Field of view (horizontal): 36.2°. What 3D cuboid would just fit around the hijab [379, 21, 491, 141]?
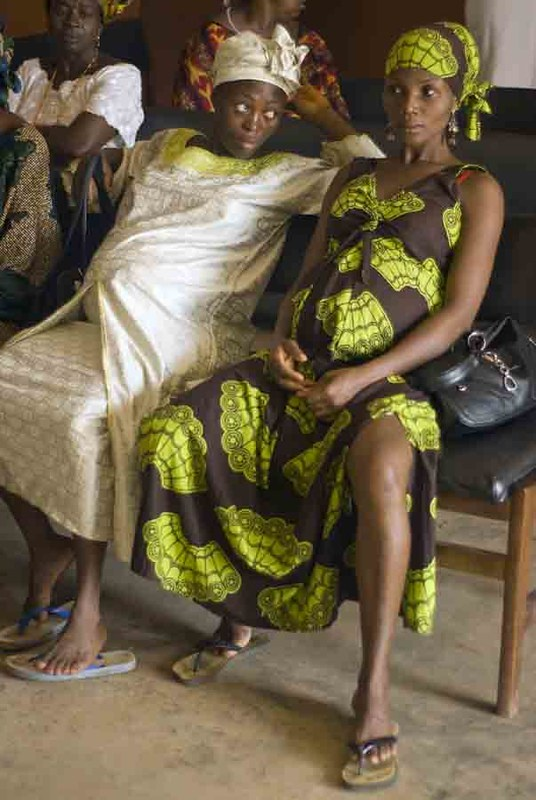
[{"bbox_3d":[0.361,-0.680,1.766,0.277,0.227,0.182,-7,27,-11],"label":"hijab"}]

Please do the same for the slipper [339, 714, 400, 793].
[{"bbox_3d":[0.168,0.562,1.312,0.091,0.024,0.162,-1,16,12],"label":"slipper"}]

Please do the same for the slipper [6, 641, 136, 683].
[{"bbox_3d":[-0.402,0.526,1.659,0.261,0.033,0.135,0,6,-10],"label":"slipper"}]

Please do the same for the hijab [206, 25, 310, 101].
[{"bbox_3d":[-0.039,-0.808,1.967,0.251,0.128,0.165,6,27,20],"label":"hijab"}]
